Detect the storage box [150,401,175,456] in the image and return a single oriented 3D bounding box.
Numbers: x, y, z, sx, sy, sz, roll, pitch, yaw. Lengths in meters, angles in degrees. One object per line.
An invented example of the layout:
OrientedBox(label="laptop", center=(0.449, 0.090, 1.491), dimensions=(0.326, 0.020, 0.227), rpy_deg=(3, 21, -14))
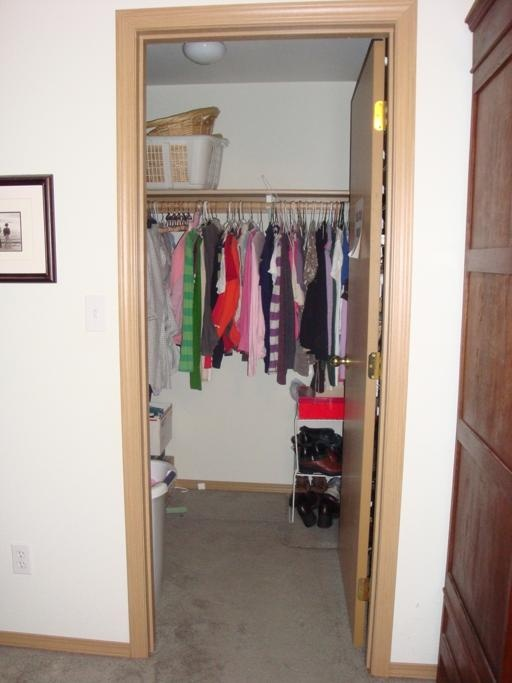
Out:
OrientedBox(label="storage box", center=(-0.506, 0.456, 2.998), dimensions=(0.135, 0.245, 0.304), rpy_deg=(0, 5, 2))

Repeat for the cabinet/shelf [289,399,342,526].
OrientedBox(label="cabinet/shelf", center=(0.301, 0.586, 2.869), dimensions=(0.280, 0.730, 0.661), rpy_deg=(1, 7, 8))

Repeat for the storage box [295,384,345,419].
OrientedBox(label="storage box", center=(0.306, 0.296, 2.693), dimensions=(0.220, 0.152, 0.466), rpy_deg=(1, 8, 5))
